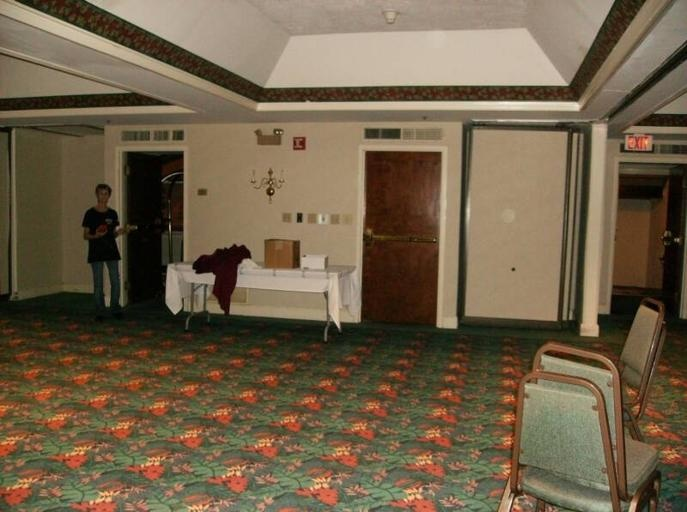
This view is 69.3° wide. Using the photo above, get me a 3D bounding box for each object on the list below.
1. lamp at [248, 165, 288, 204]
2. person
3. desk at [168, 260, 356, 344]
[{"bbox_3d":[-1.128,-1.109,7.605,0.635,0.602,0.159,2,2,3],"label":"lamp"},{"bbox_3d":[-3.442,-0.074,7.216,0.535,1.904,0.400,-3,10,-24],"label":"person"},{"bbox_3d":[-1.313,0.530,7.076,2.924,1.069,1.381,4,10,14],"label":"desk"}]
